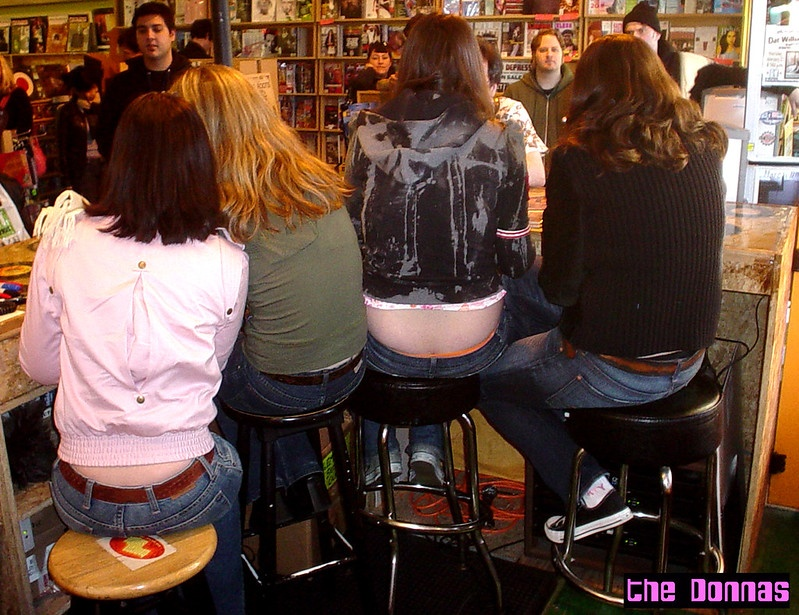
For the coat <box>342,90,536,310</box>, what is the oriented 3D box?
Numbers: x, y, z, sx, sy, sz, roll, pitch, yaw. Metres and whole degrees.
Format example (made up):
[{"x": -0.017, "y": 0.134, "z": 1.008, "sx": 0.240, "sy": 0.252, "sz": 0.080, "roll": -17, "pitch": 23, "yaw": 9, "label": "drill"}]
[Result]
[{"x": 0.083, "y": -0.330, "z": 1.961, "sx": 0.614, "sy": 0.594, "sz": 0.345, "roll": 4, "pitch": 17, "yaw": 6, "label": "coat"}]

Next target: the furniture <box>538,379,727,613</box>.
[{"x": 0.691, "y": 0.517, "z": 2.297, "sx": 0.703, "sy": 0.789, "sz": 0.697, "roll": -1, "pitch": 21, "yaw": 7, "label": "furniture"}]

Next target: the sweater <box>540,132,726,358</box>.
[{"x": 0.659, "y": -0.185, "z": 1.837, "sx": 0.555, "sy": 0.563, "sz": 0.322, "roll": -4, "pitch": 17, "yaw": 0, "label": "sweater"}]

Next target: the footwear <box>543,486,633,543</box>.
[{"x": 0.591, "y": 0.650, "z": 2.107, "sx": 0.319, "sy": 0.138, "sz": 0.120, "roll": -29, "pitch": -12, "yaw": 33, "label": "footwear"}]

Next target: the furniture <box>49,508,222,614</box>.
[{"x": -0.632, "y": 0.598, "z": 1.550, "sx": 0.234, "sy": 0.260, "sz": 0.246, "roll": 3, "pitch": 28, "yaw": -6, "label": "furniture"}]

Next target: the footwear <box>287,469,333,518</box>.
[{"x": -0.294, "y": 0.609, "z": 2.172, "sx": 0.132, "sy": 0.141, "sz": 0.149, "roll": -17, "pitch": 50, "yaw": 6, "label": "footwear"}]

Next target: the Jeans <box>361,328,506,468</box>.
[{"x": 0.095, "y": 0.250, "z": 2.316, "sx": 0.478, "sy": 0.521, "sz": 0.479, "roll": -6, "pitch": 29, "yaw": -9, "label": "Jeans"}]

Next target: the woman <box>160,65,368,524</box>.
[{"x": -0.428, "y": 0.034, "z": 2.044, "sx": 0.496, "sy": 1.222, "sz": 0.708, "roll": -13, "pitch": 16, "yaw": -39, "label": "woman"}]

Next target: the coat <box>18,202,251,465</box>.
[{"x": -0.683, "y": 0.066, "z": 1.621, "sx": 0.570, "sy": 0.603, "sz": 0.273, "roll": 0, "pitch": 14, "yaw": 11, "label": "coat"}]

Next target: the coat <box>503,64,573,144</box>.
[{"x": 1.098, "y": -1.521, "z": 4.940, "sx": 0.589, "sy": 0.558, "sz": 0.227, "roll": -1, "pitch": 49, "yaw": 18, "label": "coat"}]
